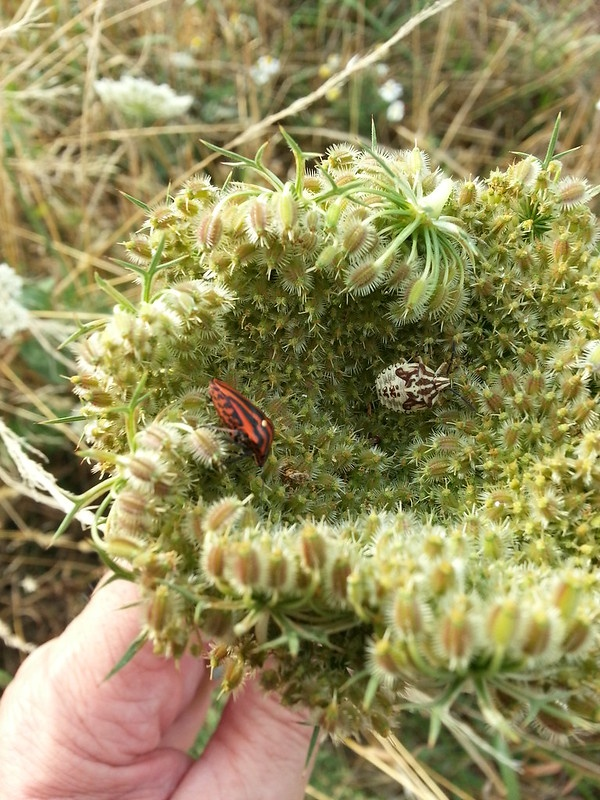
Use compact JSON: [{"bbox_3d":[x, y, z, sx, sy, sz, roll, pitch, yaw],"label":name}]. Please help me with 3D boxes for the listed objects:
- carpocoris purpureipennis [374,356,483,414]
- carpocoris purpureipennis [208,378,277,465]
[{"bbox_3d":[0.515,-0.076,3.446,0.388,0.208,0.236,-4,71,-3],"label":"carpocoris purpureipennis"},{"bbox_3d":[-0.228,0.077,3.014,0.094,0.305,0.288,-39,59,5],"label":"carpocoris purpureipennis"}]
